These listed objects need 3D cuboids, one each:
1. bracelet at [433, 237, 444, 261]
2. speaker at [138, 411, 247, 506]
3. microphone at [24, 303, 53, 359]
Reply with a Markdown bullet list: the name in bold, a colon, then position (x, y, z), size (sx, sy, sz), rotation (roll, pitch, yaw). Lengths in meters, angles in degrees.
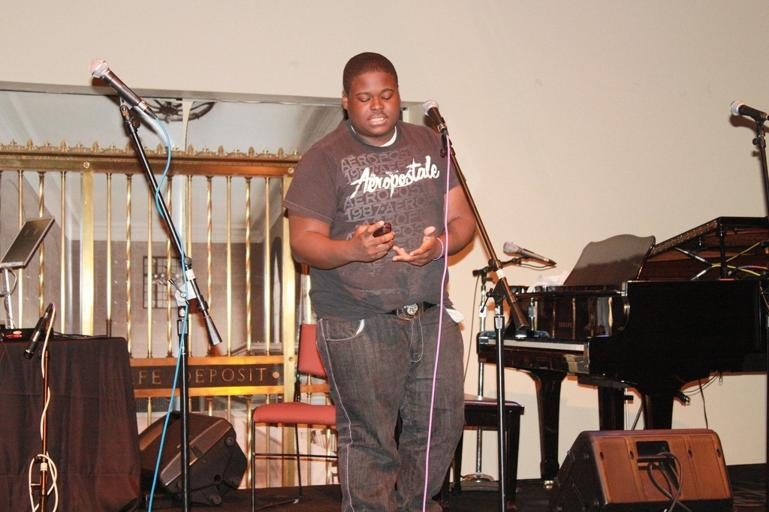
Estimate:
- **bracelet**: position (0.329, -0.039, 5.797), size (0.069, 0.101, 0.099), rotation (0, -4, -12)
- **speaker**: position (-1.383, 1.489, 7.170), size (0.561, 0.491, 0.646), rotation (-35, 16, -29)
- **microphone**: position (-2.361, 0.526, 6.832), size (0.092, 0.347, 0.124), rotation (22, 7, 11)
